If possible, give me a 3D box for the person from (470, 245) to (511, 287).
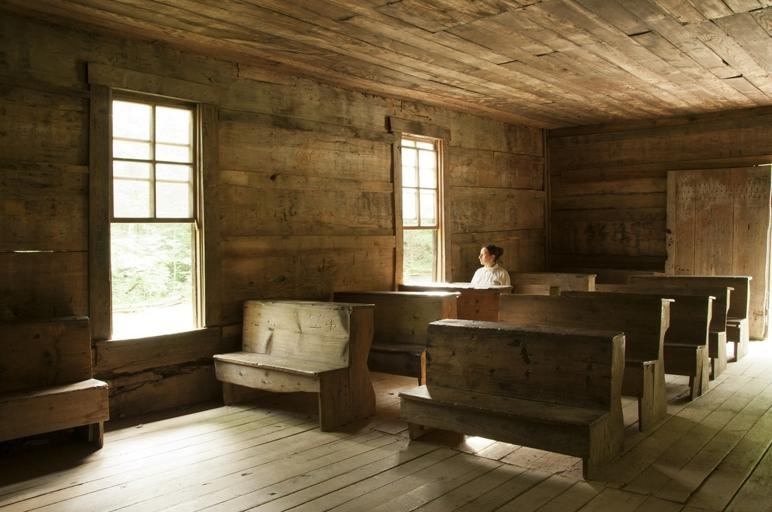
[{"bbox_3d":[1.584,0.204,7.933,0.471,0.648,0.802,1,5,-26],"label":"person"}]
